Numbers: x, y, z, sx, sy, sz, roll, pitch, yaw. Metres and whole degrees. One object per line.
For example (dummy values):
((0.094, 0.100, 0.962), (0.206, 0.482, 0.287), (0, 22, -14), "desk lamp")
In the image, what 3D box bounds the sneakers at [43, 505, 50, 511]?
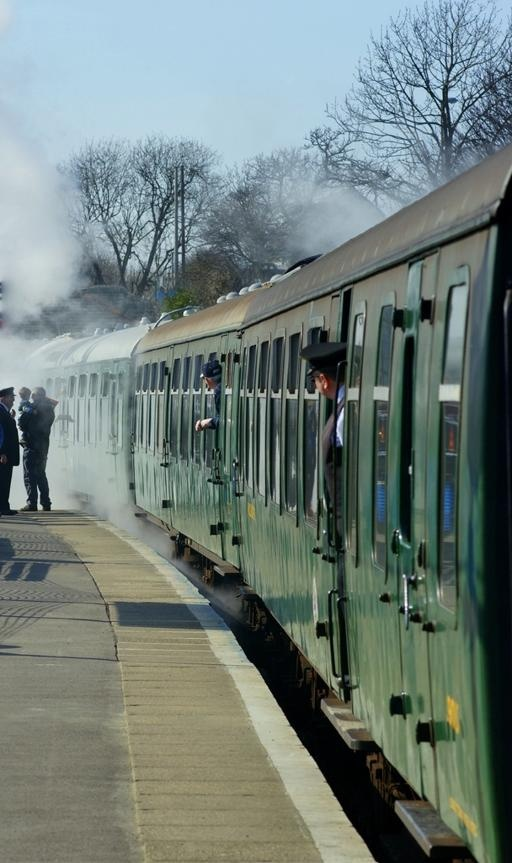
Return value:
((-4.804, 1.748, 19.008), (0.112, 0.102, 0.122), (1, -6, -15), "sneakers")
